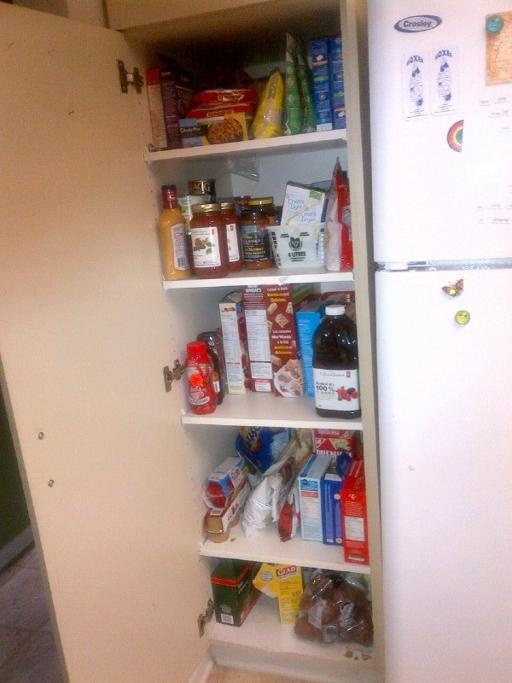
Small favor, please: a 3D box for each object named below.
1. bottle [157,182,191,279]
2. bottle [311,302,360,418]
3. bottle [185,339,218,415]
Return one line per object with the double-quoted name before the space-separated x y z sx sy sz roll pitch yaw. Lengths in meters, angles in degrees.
"bottle" -0.173 -0.251 1.308 0.055 0.194 0.083 4 19 11
"bottle" 0.181 0.039 1.338 0.106 0.256 0.106 -5 10 1
"bottle" -0.138 0.086 1.403 0.067 0.187 0.073 1 13 0
